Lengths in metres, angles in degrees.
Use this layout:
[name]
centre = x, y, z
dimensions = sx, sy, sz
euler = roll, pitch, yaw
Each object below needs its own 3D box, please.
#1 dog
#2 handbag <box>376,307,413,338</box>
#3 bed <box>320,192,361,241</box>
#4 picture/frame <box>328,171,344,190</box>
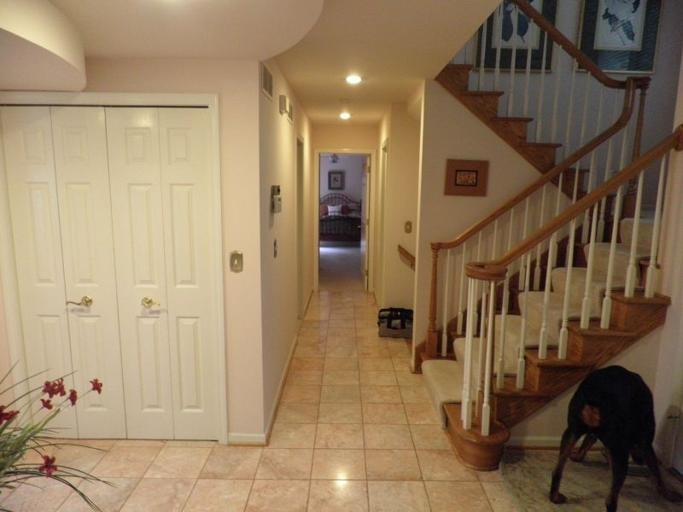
[dog]
centre = 1.767, 1.090, 3.433
dimensions = 0.571, 0.647, 1.181
euler = 2, 3, 33
[handbag]
centre = 0.609, 0.781, 6.043
dimensions = 0.340, 0.301, 0.338
euler = 0, 4, 0
[bed]
centre = -0.024, -0.976, 13.458
dimensions = 1.020, 1.276, 1.289
euler = -2, 7, 1
[picture/frame]
centre = -0.136, -1.973, 13.949
dimensions = 0.437, 0.446, 0.108
euler = -3, 7, 1
